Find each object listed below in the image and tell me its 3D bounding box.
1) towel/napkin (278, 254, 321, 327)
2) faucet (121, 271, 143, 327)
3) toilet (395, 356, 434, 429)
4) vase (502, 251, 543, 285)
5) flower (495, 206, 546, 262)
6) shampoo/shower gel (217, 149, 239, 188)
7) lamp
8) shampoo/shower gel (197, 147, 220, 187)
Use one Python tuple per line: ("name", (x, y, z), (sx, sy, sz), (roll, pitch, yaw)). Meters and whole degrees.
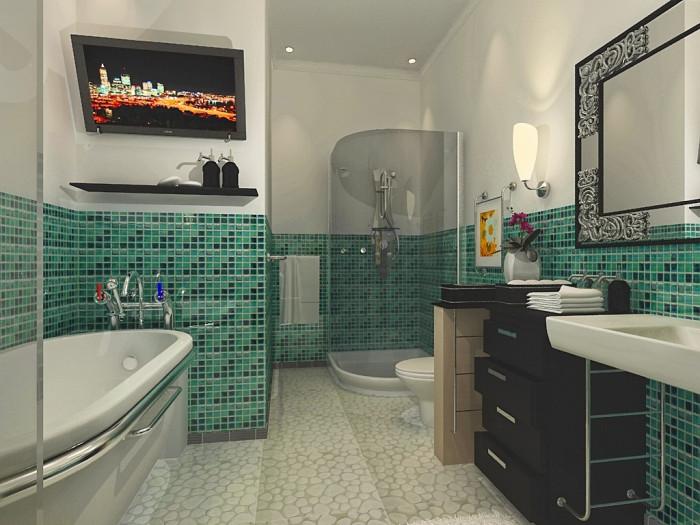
("towel/napkin", (-0.478, 0.263, 5.001), (0.395, 0.628, 0.143), (-2, 8, -9))
("faucet", (-1.336, 0.233, 3.208), (0.132, 0.372, 0.345), (-4, 9, -23))
("toilet", (0.470, 0.874, 3.560), (0.371, 0.330, 0.413), (0, -3, -10))
("vase", (1.037, 0.036, 3.163), (0.213, 0.211, 0.192), (0, 2, 20))
("flower", (1.076, -0.166, 3.357), (0.280, 0.401, 0.386), (-1, 1, -23))
("shampoo/shower gel", (-0.769, -0.592, 3.335), (0.130, 0.259, 0.277), (-3, 8, -14))
("lamp", (1.143, -0.658, 3.350), (0.185, 0.490, 0.298), (-1, 8, -4))
("shampoo/shower gel", (-0.895, -0.594, 3.326), (0.134, 0.249, 0.286), (-3, 8, -16))
